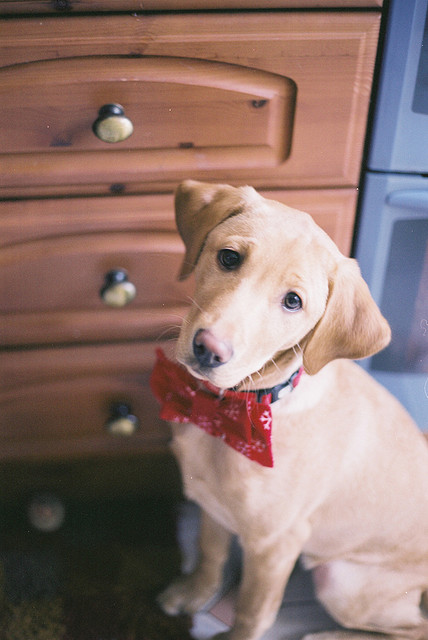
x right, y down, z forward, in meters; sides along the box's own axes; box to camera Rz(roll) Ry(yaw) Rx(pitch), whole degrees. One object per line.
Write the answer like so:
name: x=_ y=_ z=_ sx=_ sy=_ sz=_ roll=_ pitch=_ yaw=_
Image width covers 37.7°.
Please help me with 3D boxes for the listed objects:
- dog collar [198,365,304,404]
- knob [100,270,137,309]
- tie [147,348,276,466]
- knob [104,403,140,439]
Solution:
dog collar: x=0.055 y=0.101 z=0.968 sx=0.113 sy=0.062 sz=0.115 roll=-5 pitch=23 yaw=-16
knob: x=-0.145 y=-0.046 z=0.959 sx=0.050 sy=0.057 sz=0.046 roll=11 pitch=32 yaw=20
tie: x=0.003 y=0.126 z=0.934 sx=0.237 sy=0.176 sz=0.033 roll=26 pitch=61 yaw=16
knob: x=-0.159 y=0.178 z=1.074 sx=0.057 sy=0.061 sz=0.024 roll=3 pitch=30 yaw=-4
